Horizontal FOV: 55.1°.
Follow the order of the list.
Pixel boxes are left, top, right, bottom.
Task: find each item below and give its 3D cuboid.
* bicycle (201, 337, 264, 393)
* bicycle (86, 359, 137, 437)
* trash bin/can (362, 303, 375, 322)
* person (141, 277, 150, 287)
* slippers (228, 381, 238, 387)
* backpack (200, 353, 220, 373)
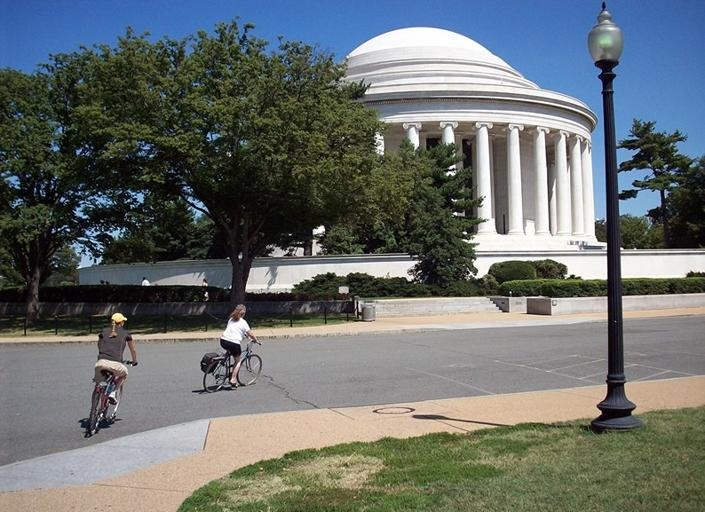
[{"bbox_3d":[-3.068,2.763,17.860,0.831,1.110,1.793,20,15,40],"label":"bicycle"},{"bbox_3d":[-5.443,3.070,14.555,0.736,1.024,1.623,-3,11,2],"label":"bicycle"},{"bbox_3d":[0.793,2.803,33.897,0.728,0.749,0.744,-4,-9,25],"label":"trash bin/can"},{"bbox_3d":[-15.252,1.846,49.929,0.424,0.981,0.607,-5,23,-39],"label":"person"},{"bbox_3d":[-3.109,3.328,17.636,0.275,0.114,0.102,-4,-2,31],"label":"slippers"},{"bbox_3d":[-3.626,2.618,17.110,0.552,0.549,0.399,7,10,-21],"label":"backpack"}]
